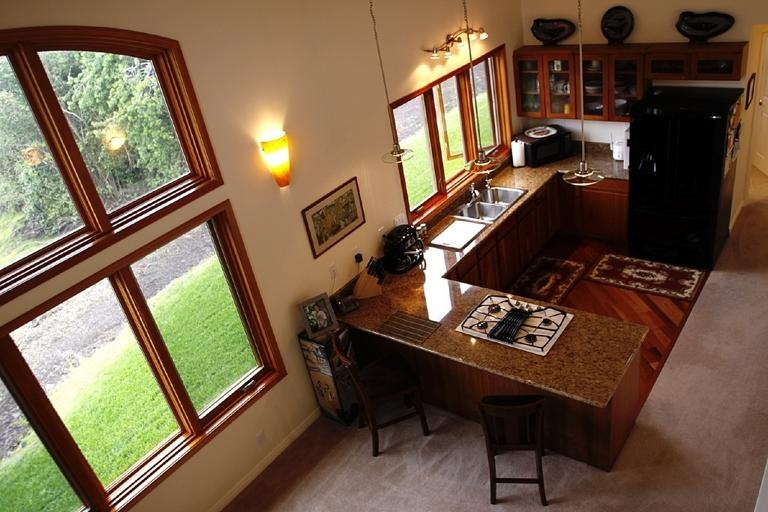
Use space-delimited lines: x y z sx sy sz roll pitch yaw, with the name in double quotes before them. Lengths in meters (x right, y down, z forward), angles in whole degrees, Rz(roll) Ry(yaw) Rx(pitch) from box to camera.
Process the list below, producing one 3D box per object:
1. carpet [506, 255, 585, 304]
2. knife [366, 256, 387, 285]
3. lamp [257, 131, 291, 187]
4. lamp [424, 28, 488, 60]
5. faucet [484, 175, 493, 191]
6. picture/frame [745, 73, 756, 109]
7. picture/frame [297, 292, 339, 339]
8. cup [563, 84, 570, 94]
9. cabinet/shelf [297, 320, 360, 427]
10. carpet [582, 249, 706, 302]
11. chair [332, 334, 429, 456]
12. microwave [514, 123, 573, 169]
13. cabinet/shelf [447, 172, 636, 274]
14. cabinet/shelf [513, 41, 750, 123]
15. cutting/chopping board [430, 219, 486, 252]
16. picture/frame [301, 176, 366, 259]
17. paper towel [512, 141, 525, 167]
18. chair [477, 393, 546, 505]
"carpet" 2.283 0.289 7.072 0.757 0.198 0.973 12 31 37
"knife" -0.089 0.162 5.920 0.224 0.304 0.092 27 2 13
"lamp" -1.069 -0.935 4.888 0.312 0.484 0.300 -5 37 17
"lamp" 0.969 -2.672 6.372 0.506 0.323 1.138 10 30 33
"faucet" 1.456 -1.029 7.174 0.122 0.207 0.119 -32 45 -22
"picture/frame" 4.671 -2.136 6.536 0.042 0.596 0.348 6 20 43
"picture/frame" -0.716 0.628 5.366 0.364 0.437 0.033 -24 12 -10
"cup" 2.604 -2.395 7.305 0.071 0.119 0.120 17 6 10
"cabinet/shelf" -0.606 1.222 5.474 0.443 1.362 0.592 -31 42 -25
"carpet" 3.470 0.249 6.802 1.288 0.209 0.665 9 29 32
"chair" -0.003 1.366 5.442 0.868 1.251 0.874 -1 26 25
"microwave" 2.340 -1.608 7.529 0.873 0.453 0.598 -22 39 -16
"cabinet/shelf" 2.472 -0.514 7.134 1.594 0.919 2.317 8 45 21
"cabinet/shelf" 3.295 -2.404 7.120 2.849 1.038 0.706 17 42 37
"cutting/chopping board" 0.937 -0.286 6.455 0.509 0.143 0.662 11 30 35
"picture/frame" -0.576 -0.446 5.497 0.031 0.575 0.774 17 42 38
"paper towel" 1.991 -1.532 7.557 0.225 0.339 0.232 3 38 19
"chair" 1.208 1.681 4.772 0.571 1.063 0.625 -2 26 14
